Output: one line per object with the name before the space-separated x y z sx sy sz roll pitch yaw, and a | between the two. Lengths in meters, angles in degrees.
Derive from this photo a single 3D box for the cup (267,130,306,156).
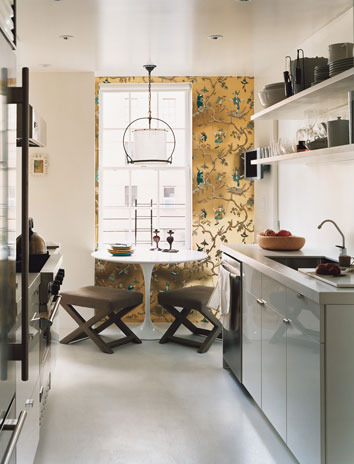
cup | 0.733 -0.573 2.846 0.178 0.083 0.251 -1 6 21

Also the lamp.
lamp | -0.227 -1.117 4.084 0.591 1.050 1.340 0 3 -7

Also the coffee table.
coffee table | -0.225 0.526 4.040 0.938 0.681 0.927 -2 4 -38

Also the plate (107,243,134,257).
plate | -0.540 0.168 4.092 0.241 0.103 0.282 1 3 20

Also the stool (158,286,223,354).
stool | 0.199 0.774 3.975 0.589 0.461 0.602 -1 4 40

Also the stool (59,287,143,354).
stool | -0.682 0.780 3.946 0.602 0.508 0.542 2 3 35

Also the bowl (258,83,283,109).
bowl | 0.634 -0.915 2.888 0.135 0.115 0.175 3 11 31

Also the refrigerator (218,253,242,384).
refrigerator | 0.384 0.623 3.066 0.140 0.896 0.512 0 2 5
